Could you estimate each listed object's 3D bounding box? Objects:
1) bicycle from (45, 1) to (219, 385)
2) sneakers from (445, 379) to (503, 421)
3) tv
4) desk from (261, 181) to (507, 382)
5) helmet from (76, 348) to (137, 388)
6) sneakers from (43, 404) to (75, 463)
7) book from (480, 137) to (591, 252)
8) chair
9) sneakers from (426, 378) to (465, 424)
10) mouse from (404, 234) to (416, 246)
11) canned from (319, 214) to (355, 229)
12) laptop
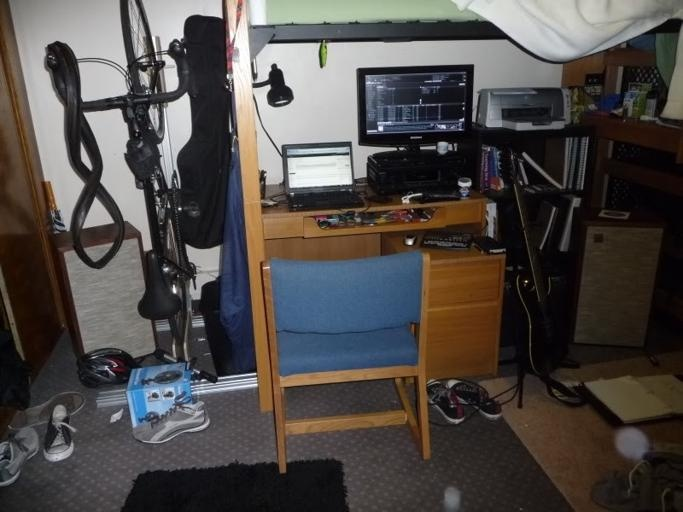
[{"bbox_3d":[-1.238,-0.349,3.293,0.877,2.147,1.254,-8,24,-8],"label":"bicycle"},{"bbox_3d":[0.745,0.799,3.186,0.129,0.143,0.354,-12,32,-28],"label":"sneakers"},{"bbox_3d":[0.469,-0.913,3.428,0.588,0.411,0.064,-4,24,-5],"label":"tv"},{"bbox_3d":[0.278,0.158,3.677,1.522,1.079,0.814,-1,18,20],"label":"desk"},{"bbox_3d":[-1.443,0.667,3.369,0.303,0.153,0.232,1,38,-24],"label":"helmet"},{"bbox_3d":[-1.542,0.990,3.037,0.159,0.141,0.416,-7,5,-21],"label":"sneakers"},{"bbox_3d":[1.243,-0.389,3.517,0.687,0.847,0.246,0,25,0],"label":"book"},{"bbox_3d":[0.048,0.411,2.923,0.868,1.138,0.793,-5,23,-5],"label":"chair"},{"bbox_3d":[0.583,0.810,3.166,0.146,0.134,0.335,-13,27,-13],"label":"sneakers"},{"bbox_3d":[0.414,-0.100,3.321,0.051,0.026,0.072,3,32,12],"label":"mouse"},{"bbox_3d":[-0.032,-0.209,3.240,0.221,0.061,0.114,-6,25,-4],"label":"canned"},{"bbox_3d":[-0.113,-0.471,3.235,0.461,0.297,0.424,-6,23,-12],"label":"laptop"}]
